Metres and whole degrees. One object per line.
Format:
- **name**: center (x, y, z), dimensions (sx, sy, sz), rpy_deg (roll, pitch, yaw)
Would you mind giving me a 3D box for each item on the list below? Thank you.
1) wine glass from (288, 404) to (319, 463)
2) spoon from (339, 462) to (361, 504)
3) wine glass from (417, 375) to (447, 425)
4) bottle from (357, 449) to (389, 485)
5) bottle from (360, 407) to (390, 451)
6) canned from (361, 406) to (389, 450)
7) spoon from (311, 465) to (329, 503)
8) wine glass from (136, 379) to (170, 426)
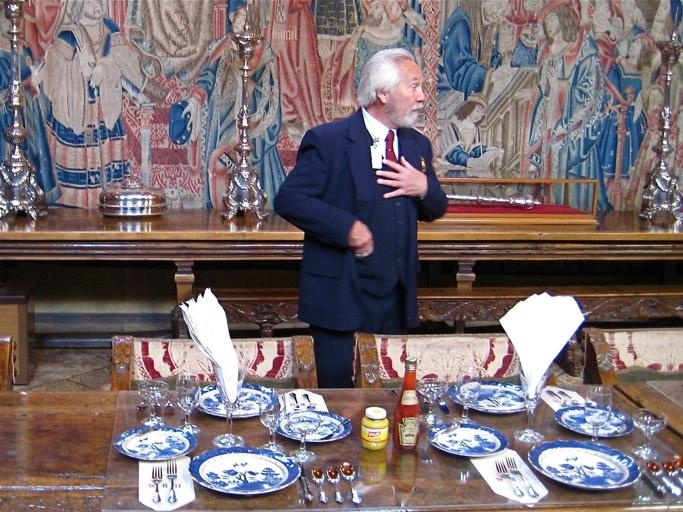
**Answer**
- **wine glass**: center (-0.112, 0.546, 2.171), dimensions (0.102, 0.153, 0.100), rpy_deg (10, 15, 42)
- **spoon**: center (0.030, 0.635, 1.989), dimensions (0.026, 0.017, 0.122), rpy_deg (13, 24, -16)
- **wine glass**: center (0.291, 0.492, 2.381), dimensions (0.116, 0.186, 0.120), rpy_deg (-1, 3, -3)
- **bottle**: center (0.093, 0.618, 2.076), dimensions (0.061, 0.062, 0.058), rpy_deg (0, 0, 13)
- **bottle**: center (0.102, 0.527, 2.147), dimensions (0.093, 0.126, 0.117), rpy_deg (1, -1, -4)
- **canned**: center (0.097, 0.524, 2.147), dimensions (0.099, 0.126, 0.113), rpy_deg (1, 0, -5)
- **spoon**: center (-0.059, 0.640, 1.971), dimensions (0.023, 0.015, 0.108), rpy_deg (4, 28, -13)
- **wine glass**: center (-0.602, 0.463, 2.249), dimensions (0.120, 0.149, 0.127), rpy_deg (2, 1, 1)
